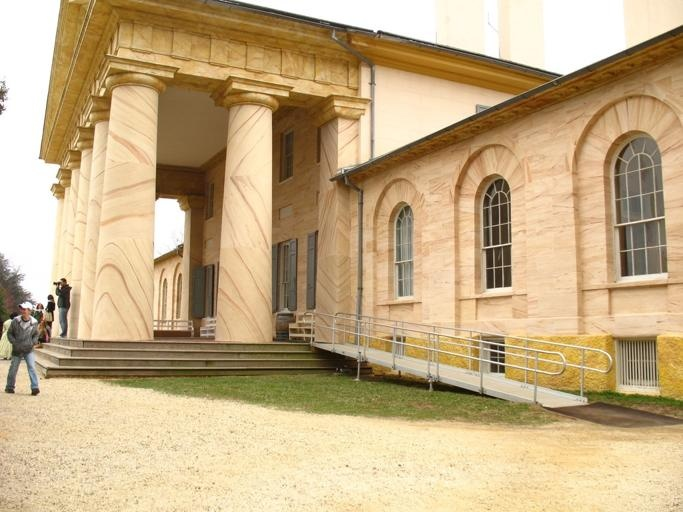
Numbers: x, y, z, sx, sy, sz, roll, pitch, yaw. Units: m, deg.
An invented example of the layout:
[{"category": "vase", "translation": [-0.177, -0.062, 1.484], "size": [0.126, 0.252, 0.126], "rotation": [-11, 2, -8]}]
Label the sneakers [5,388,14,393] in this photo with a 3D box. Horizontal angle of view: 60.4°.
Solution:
[{"category": "sneakers", "translation": [-6.960, 2.863, 12.391], "size": [0.209, 0.079, 0.072], "rotation": [-10, -12, 41]}]

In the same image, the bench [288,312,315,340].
[{"category": "bench", "translation": [-1.454, 2.685, 22.029], "size": [1.361, 1.227, 0.501], "rotation": [0, -14, 0]}]
